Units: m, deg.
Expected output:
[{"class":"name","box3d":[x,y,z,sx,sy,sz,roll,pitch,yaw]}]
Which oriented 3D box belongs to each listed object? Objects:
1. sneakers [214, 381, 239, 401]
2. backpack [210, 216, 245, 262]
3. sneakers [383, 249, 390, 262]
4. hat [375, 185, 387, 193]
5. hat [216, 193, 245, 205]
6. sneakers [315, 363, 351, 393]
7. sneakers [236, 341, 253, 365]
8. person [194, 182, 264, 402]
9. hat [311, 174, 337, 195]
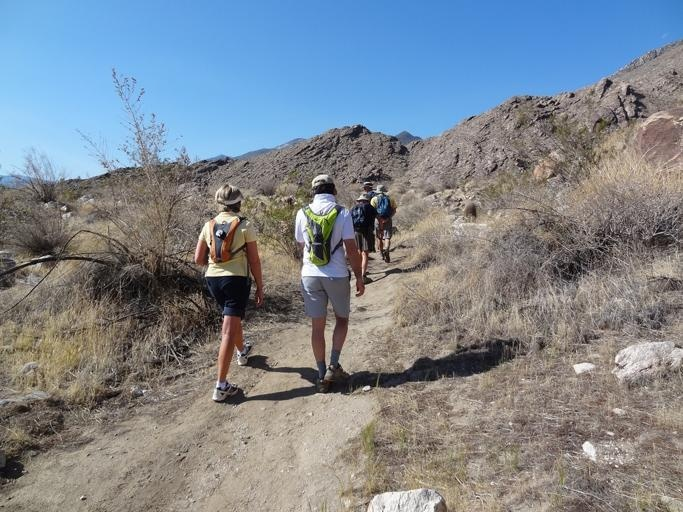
[{"class":"sneakers","box3d":[-1.411,1.634,5.813,0.139,0.182,0.335,2,10,19]},{"class":"backpack","box3d":[-1.360,-0.210,5.629,0.444,0.644,0.302,1,0,26]},{"class":"sneakers","box3d":[1.033,-0.015,10.813,0.113,0.294,0.190,-1,32,4]},{"class":"hat","box3d":[0.928,-1.530,10.707,0.176,0.106,0.181,1,0,-33]},{"class":"hat","box3d":[-1.384,-0.719,5.823,0.365,0.126,0.427,0,6,-2]},{"class":"sneakers","box3d":[-0.085,1.465,5.802,0.194,0.263,0.510,3,9,33]},{"class":"sneakers","box3d":[-1.342,1.287,6.480,0.115,0.163,0.367,-2,35,9]},{"class":"person","box3d":[-1.387,0.410,5.913,0.742,2.253,0.884,-7,-2,-25]},{"class":"hat","box3d":[-0.194,-0.855,5.745,0.279,0.245,0.498,6,6,8]}]
